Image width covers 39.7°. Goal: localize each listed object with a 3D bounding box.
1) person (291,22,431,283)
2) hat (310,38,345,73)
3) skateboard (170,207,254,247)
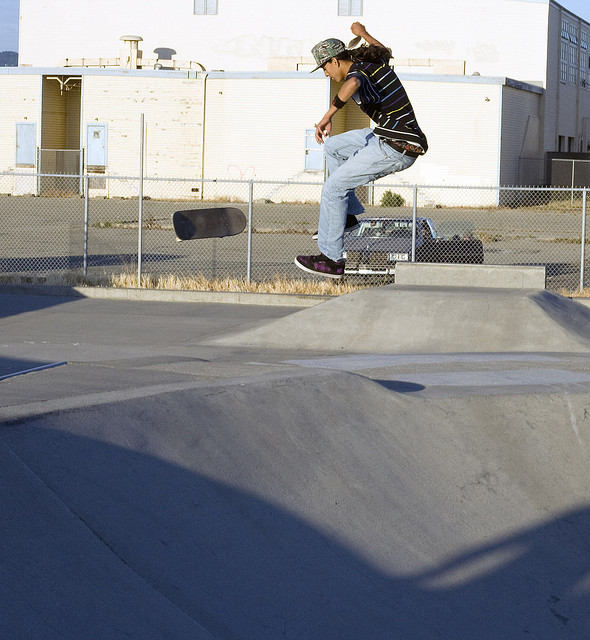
[{"bbox_3d":[0.606,-1.442,7.279,1.069,2.265,1.023,6,10,16],"label":"person"},{"bbox_3d":[0.283,-2.241,6.898,0.264,0.283,0.357,4,10,1],"label":"hat"},{"bbox_3d":[-0.963,-1.084,9.152,0.831,0.355,0.435,0,10,-21],"label":"skateboard"}]
